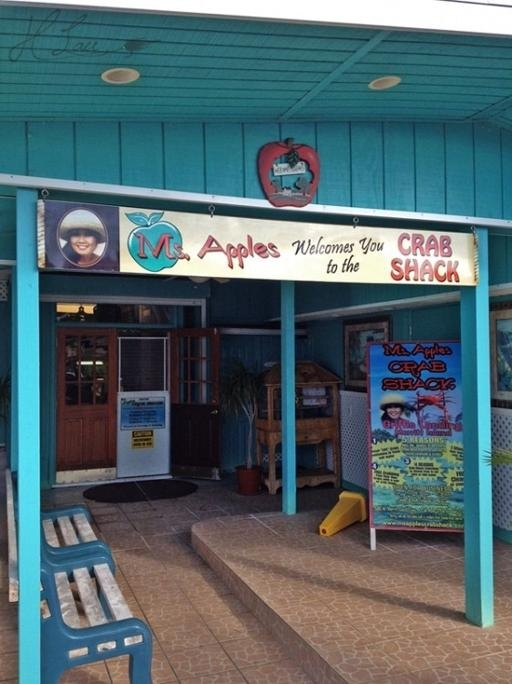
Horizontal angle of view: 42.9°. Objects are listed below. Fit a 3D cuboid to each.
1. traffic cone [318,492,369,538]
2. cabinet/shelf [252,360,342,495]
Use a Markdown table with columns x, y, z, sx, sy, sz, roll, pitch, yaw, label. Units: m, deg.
| x | y | z | sx | sy | sz | roll | pitch | yaw | label |
| --- | --- | --- | --- | --- | --- | --- | --- | --- | --- |
| 0.797 | 1.591 | 5.957 | 0.223 | 0.204 | 0.551 | -2 | 1 | 31 | traffic cone |
| 0.554 | 1.061 | 8.176 | 1.134 | 1.493 | 1.621 | -7 | 2 | 6 | cabinet/shelf |
